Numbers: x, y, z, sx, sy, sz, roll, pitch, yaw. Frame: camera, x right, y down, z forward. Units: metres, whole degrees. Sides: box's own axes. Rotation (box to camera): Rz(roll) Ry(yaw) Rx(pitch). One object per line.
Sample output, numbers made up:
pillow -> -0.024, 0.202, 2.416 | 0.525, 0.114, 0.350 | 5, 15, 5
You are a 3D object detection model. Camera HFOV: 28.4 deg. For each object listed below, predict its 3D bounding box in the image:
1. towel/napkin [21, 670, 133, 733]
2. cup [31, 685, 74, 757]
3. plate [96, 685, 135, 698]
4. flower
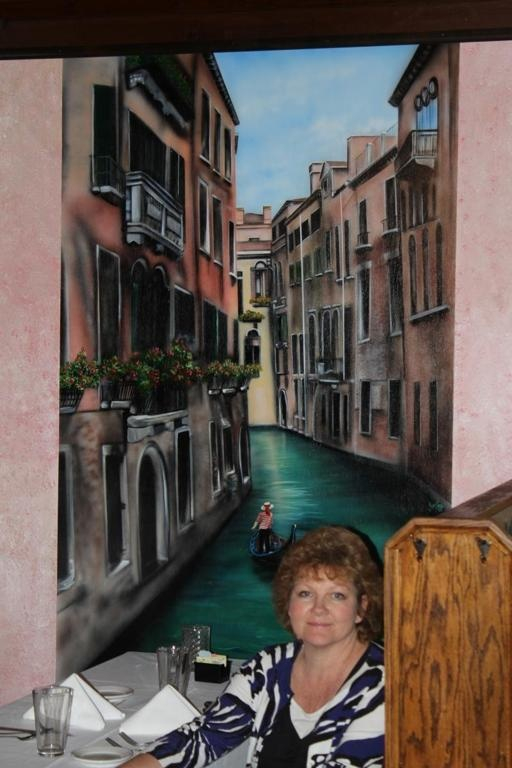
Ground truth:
towel/napkin -> -0.410, 0.759, 2.450 | 0.130, 0.088, 0.203 | 3, 2, 17
cup -> -0.455, 0.717, 2.252 | 0.090, 0.157, 0.087 | 3, 7, 0
plate -> -0.380, 0.798, 2.712 | 0.052, 0.009, 0.058 | 3, 1, -23
flower -> -0.442, -0.034, 4.798 | 0.238, 0.451, 1.186 | 0, 0, 28
